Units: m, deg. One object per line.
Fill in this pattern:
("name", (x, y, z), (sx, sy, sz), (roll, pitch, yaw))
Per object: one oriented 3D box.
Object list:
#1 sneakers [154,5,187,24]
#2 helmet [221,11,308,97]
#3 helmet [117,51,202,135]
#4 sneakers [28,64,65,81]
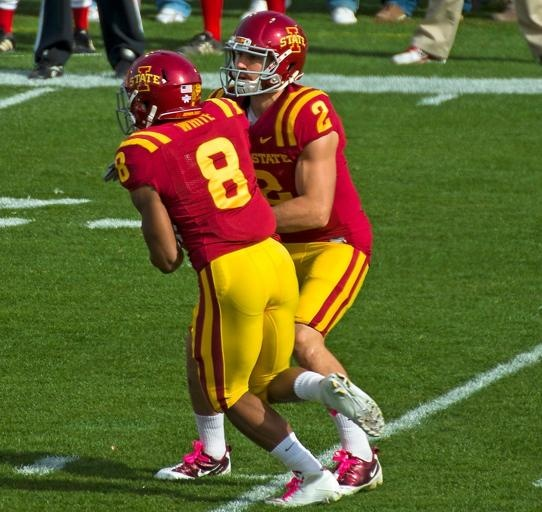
("sneakers", (-0.864, -2.054, 8.667), (0.120, 0.109, 0.302), (0, 0, 21))
("helmet", (-0.076, -0.820, 4.067), (0.414, 0.276, 0.294), (-11, 18, -41))
("helmet", (-0.420, -0.618, 3.735), (0.370, 0.262, 0.257), (8, 16, 31))
("sneakers", (-1.558, -1.295, 7.131), (0.097, 0.089, 0.248), (18, 17, 34))
